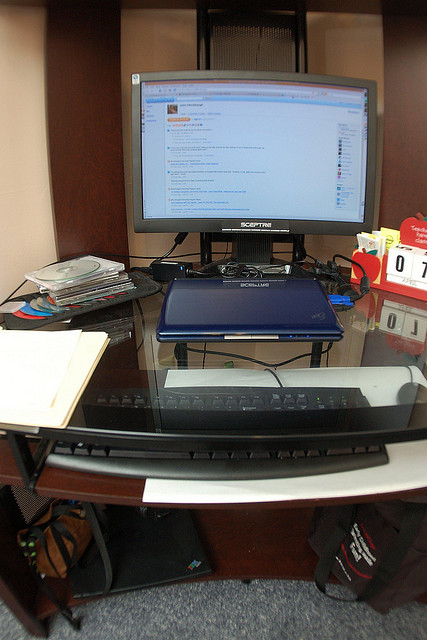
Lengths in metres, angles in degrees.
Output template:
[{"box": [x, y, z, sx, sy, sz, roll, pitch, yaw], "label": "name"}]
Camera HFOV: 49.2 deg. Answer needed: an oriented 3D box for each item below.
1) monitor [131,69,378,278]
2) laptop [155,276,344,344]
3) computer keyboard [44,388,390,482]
[{"box": [0.092, -0.321, 1.062, 0.538, 0.472, 0.148, 0, 7, -3], "label": "monitor"}, {"box": [0.066, -0.013, 0.912, 0.327, 0.065, 0.241, 1, 25, 3], "label": "laptop"}, {"box": [0.009, 0.168, 0.696, 0.522, 0.097, 0.110, -1, 24, 0], "label": "computer keyboard"}]
